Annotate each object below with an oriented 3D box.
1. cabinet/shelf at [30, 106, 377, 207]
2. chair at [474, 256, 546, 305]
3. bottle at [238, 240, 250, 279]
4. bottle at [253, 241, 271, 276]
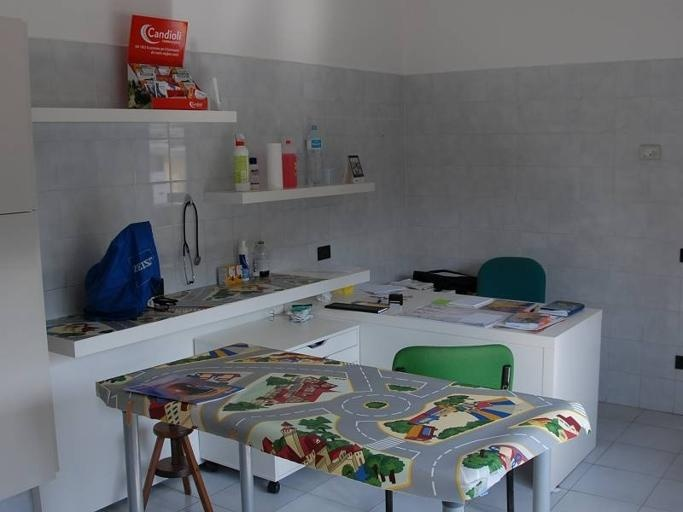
[{"bbox_3d":[-0.762,-0.592,3.113,0.346,0.546,2.121,3,7,42],"label":"cabinet/shelf"},{"bbox_3d":[1.297,0.153,3.948,0.389,0.531,0.381,1,7,21],"label":"chair"},{"bbox_3d":[-0.674,0.023,3.468,0.070,0.265,0.121,-3,5,-15],"label":"bottle"},{"bbox_3d":[-0.552,0.014,3.603,0.088,0.245,0.155,2,6,30],"label":"bottle"}]
